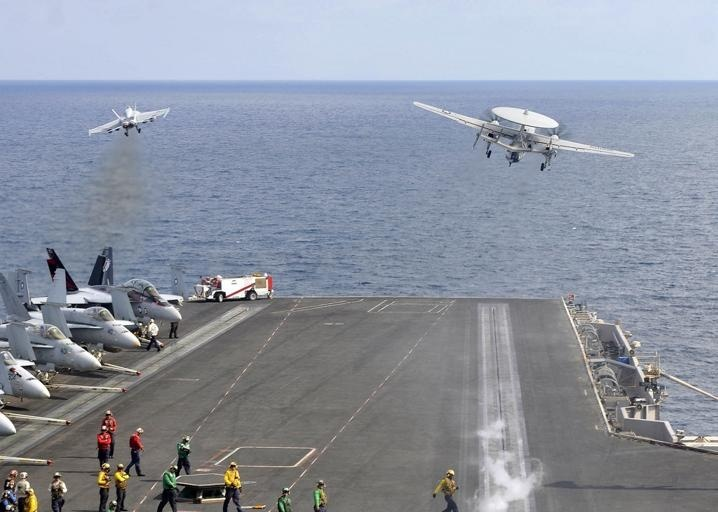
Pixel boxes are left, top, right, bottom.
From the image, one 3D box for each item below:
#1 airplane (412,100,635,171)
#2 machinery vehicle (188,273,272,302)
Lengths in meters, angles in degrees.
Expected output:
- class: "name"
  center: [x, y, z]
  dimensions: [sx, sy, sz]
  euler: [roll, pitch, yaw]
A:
- class: "airplane"
  center: [17.846, -12.648, 135.862]
  dimensions: [22.099, 3.807, 13.819]
  euler: [11, 0, -4]
- class: "machinery vehicle"
  center: [-12.799, 3.258, 127.845]
  dimensions: [6.737, 2.625, 1.496]
  euler: [-1, 20, -18]
